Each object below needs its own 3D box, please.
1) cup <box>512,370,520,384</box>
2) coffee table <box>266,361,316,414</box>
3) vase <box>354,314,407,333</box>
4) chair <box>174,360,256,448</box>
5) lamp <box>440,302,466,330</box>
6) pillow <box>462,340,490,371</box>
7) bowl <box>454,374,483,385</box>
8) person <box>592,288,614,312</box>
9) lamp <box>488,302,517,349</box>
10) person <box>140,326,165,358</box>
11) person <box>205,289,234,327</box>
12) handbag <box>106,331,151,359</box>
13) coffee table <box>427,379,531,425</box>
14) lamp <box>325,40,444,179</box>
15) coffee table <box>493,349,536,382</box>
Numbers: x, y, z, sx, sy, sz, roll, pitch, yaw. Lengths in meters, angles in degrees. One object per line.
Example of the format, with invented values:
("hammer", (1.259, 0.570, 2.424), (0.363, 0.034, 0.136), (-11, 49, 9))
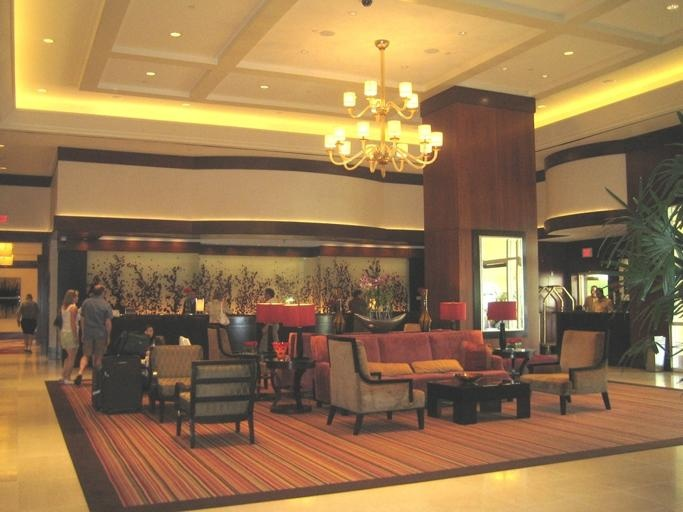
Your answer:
("cup", (2.742, 1.908, 9.168), (0.151, 0.173, 0.153), (0, -8, 0))
("coffee table", (-0.845, 2.025, 9.288), (0.836, 0.848, 0.846), (-1, -7, 14))
("vase", (0.698, 1.255, 10.924), (0.827, 0.270, 0.476), (4, -14, -14))
("chair", (-1.567, 1.808, 7.561), (0.976, 1.298, 1.021), (2, -4, -19))
("lamp", (1.996, 1.047, 10.354), (0.493, 0.557, 0.479), (3, -4, -31))
("pillow", (2.230, 1.630, 9.785), (0.533, 0.686, 0.379), (-3, -6, 15))
("bowl", (1.791, 1.732, 8.208), (0.217, 0.085, 0.219), (0, -7, 0))
("person", (6.708, 1.165, 14.912), (0.442, 0.519, 0.802), (-3, -6, 24))
("lamp", (2.728, 1.196, 9.884), (0.520, 0.834, 0.532), (1, -10, -4))
("person", (-3.396, 1.526, 10.364), (0.402, 0.903, 0.294), (1, -17, -16))
("person", (-3.194, 1.309, 15.112), (0.626, 1.010, 1.517), (1, -6, -13))
("handbag", (-3.665, 1.533, 10.070), (0.738, 0.539, 0.788), (5, -7, -17))
("coffee table", (1.944, 1.957, 8.205), (0.858, 0.396, 0.864), (3, -8, -20))
("lamp", (0.675, -2.437, 9.382), (1.720, 2.080, 1.667), (2, 3, 28))
("coffee table", (2.983, 1.846, 10.138), (0.611, 0.457, 0.559), (1, -5, 0))
